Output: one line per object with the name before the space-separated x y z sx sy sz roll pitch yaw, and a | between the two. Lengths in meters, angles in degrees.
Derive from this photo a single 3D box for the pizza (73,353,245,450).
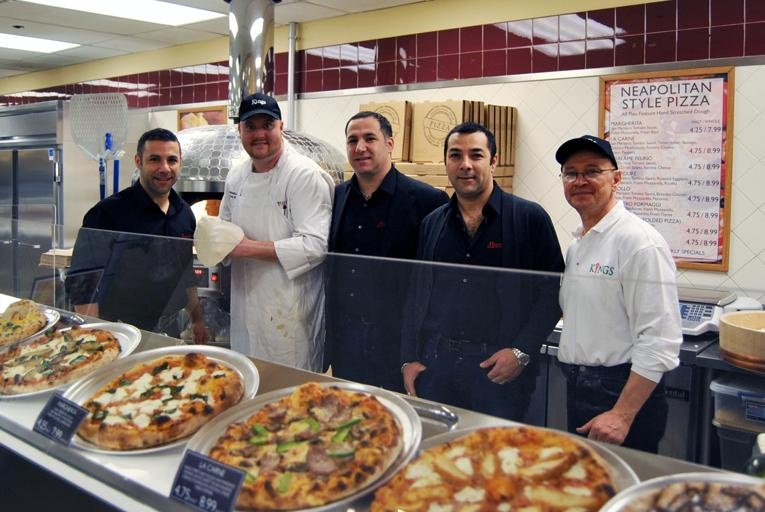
pizza | -0.600 0.381 1.374 0.279 0.055 0.243 -15 28 -8

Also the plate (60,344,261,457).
plate | -0.577 0.387 1.387 0.326 0.060 0.300 -4 29 0

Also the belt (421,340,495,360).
belt | 0.182 0.229 1.249 0.173 0.058 0.019 4 11 22

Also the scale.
scale | 0.954 0.171 1.478 0.190 0.063 0.191 -8 5 -37

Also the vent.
vent | -1.024 -0.697 3.661 0.747 0.307 0.760 5 8 29

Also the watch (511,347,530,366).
watch | 0.315 0.229 1.177 0.040 0.026 0.038 55 10 28
